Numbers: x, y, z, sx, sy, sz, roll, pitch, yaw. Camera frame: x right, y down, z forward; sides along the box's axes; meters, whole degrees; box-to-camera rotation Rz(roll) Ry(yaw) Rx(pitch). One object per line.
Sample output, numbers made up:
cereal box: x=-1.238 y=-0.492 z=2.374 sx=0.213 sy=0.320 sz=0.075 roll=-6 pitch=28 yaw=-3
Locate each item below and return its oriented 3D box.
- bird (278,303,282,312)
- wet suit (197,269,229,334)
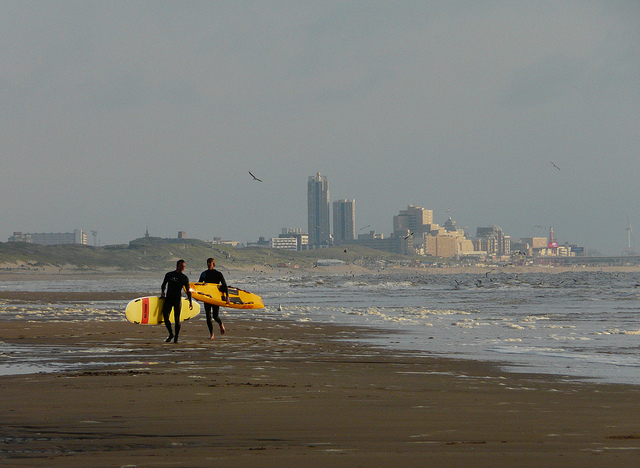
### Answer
bird: x=-1.818 y=3.330 z=68.332 sx=0.141 sy=0.247 sz=0.353 roll=2 pitch=22 yaw=-7
wet suit: x=-3.718 y=2.272 z=51.843 sx=0.831 sy=2.089 sz=0.998 roll=0 pitch=-1 yaw=1
